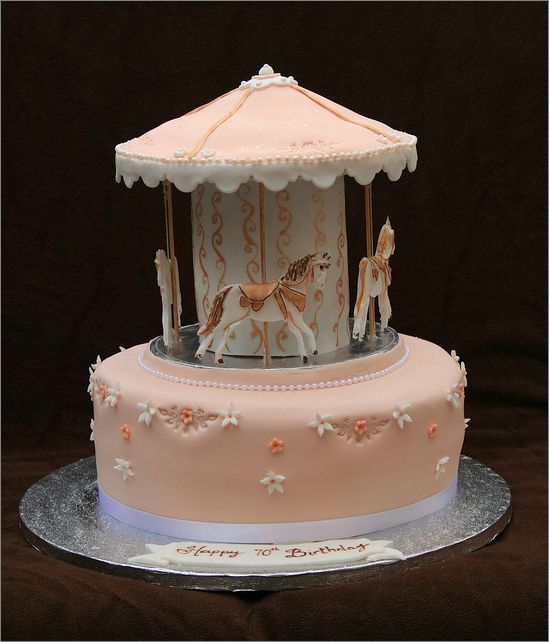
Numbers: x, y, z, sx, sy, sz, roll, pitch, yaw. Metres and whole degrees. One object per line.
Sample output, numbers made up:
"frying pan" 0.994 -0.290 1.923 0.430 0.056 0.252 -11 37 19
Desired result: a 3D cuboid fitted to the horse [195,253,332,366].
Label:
"horse" -0.028 -0.050 4.098 0.598 0.452 0.145 -1 -18 -2
